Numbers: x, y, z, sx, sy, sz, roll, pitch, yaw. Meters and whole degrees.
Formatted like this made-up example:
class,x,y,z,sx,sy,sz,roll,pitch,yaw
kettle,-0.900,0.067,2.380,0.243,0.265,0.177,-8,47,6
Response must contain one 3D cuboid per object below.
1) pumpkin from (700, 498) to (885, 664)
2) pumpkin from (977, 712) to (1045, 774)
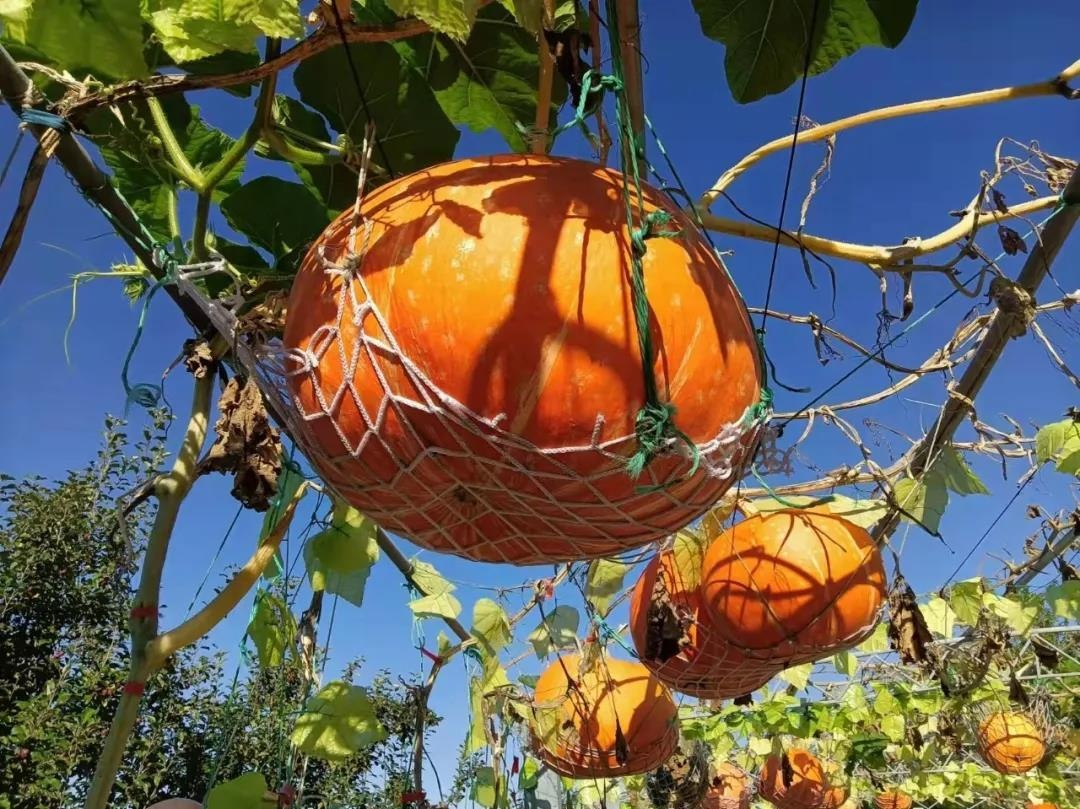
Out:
class,x,y,z,sx,sy,sz,roll,pitch,yaw
pumpkin,1.077,0.680,3.907,0.688,0.726,0.751,-3,-84,18
pumpkin,3.833,2.735,7.628,0.482,0.456,0.471,-18,-48,21
